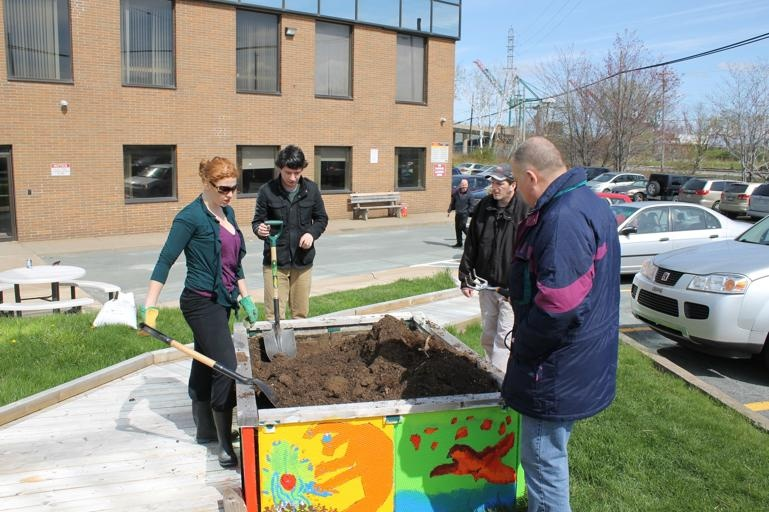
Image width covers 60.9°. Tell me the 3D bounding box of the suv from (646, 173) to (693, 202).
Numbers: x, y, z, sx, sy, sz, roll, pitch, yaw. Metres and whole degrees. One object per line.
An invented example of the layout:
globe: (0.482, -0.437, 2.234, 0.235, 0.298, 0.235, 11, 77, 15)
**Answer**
suv: (14.409, -3.593, 33.663, 2.426, 1.245, 1.338, -9, 14, -17)

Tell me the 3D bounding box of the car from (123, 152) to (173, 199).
car: (-7.302, -2.549, 20.249, 0.923, 0.820, 1.724, 10, 11, 32)

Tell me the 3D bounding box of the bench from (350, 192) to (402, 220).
bench: (-0.350, -1.965, 25.288, 2.436, 1.042, 0.539, -10, 14, -41)

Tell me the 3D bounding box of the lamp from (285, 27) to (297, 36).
lamp: (-3.216, -7.586, 22.284, 0.411, 0.291, 0.271, -11, 19, -39)

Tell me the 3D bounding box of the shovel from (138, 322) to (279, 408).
shovel: (-1.884, 1.197, 7.045, 1.668, 0.213, 0.289, 31, 19, 16)

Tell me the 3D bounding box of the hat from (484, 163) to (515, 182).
hat: (1.338, -0.920, 7.580, 0.376, 0.196, 0.250, -1, 2, -44)

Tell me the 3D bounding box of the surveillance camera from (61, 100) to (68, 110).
surveillance camera: (-9.051, -4.216, 18.411, 0.194, 0.264, 0.225, -8, 13, -33)

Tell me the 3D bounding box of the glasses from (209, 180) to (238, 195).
glasses: (-1.616, -0.681, 6.553, 0.261, 0.137, 0.109, -5, 12, -23)

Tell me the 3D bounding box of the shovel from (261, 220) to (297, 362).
shovel: (-1.228, 0.369, 7.431, 0.369, 1.479, 0.883, -3, 11, -10)
